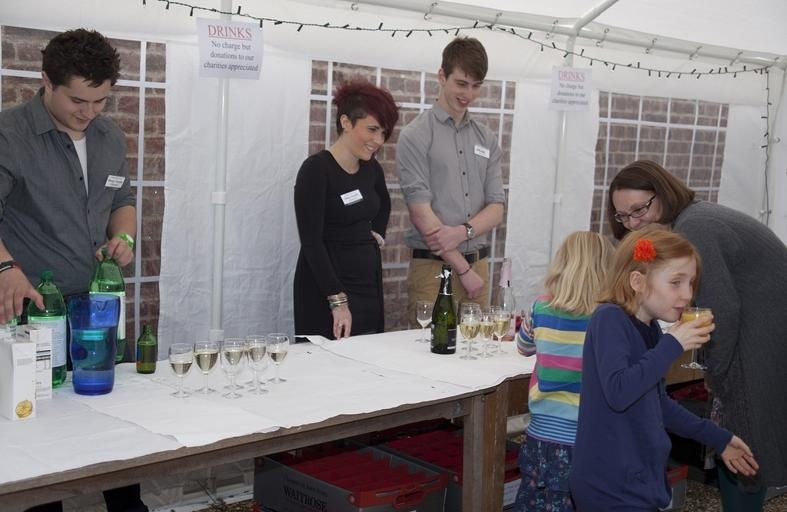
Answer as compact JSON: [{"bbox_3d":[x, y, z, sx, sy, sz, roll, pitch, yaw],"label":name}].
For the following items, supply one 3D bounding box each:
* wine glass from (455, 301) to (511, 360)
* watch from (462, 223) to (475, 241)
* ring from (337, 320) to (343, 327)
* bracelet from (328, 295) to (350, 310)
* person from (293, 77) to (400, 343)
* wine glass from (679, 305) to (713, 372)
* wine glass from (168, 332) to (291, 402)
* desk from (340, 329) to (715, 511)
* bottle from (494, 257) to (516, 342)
[{"bbox_3d":[0.426,0.345,2.711,0.248,0.189,0.291,2,2,16],"label":"wine glass"},{"bbox_3d":[0.452,-0.157,3.512,0.090,0.114,0.084,-1,4,-22],"label":"watch"},{"bbox_3d":[-0.295,0.354,3.077,0.036,0.032,0.009,-1,8,-7],"label":"ring"},{"bbox_3d":[-0.290,0.247,3.096,0.079,0.050,0.080,-4,-1,35],"label":"bracelet"},{"bbox_3d":[-0.260,-0.271,3.184,0.588,1.424,0.387,-1,4,-18],"label":"person"},{"bbox_3d":[1.132,0.265,2.110,0.098,0.176,0.097,4,18,35],"label":"wine glass"},{"bbox_3d":[-0.586,0.350,2.157,0.338,0.178,0.229,1,-4,-36],"label":"wine glass"},{"bbox_3d":[0.477,0.657,2.339,0.764,0.265,1.109,4,5,41],"label":"desk"},{"bbox_3d":[0.597,0.249,3.062,0.112,0.421,0.113,1,9,0],"label":"bottle"}]
